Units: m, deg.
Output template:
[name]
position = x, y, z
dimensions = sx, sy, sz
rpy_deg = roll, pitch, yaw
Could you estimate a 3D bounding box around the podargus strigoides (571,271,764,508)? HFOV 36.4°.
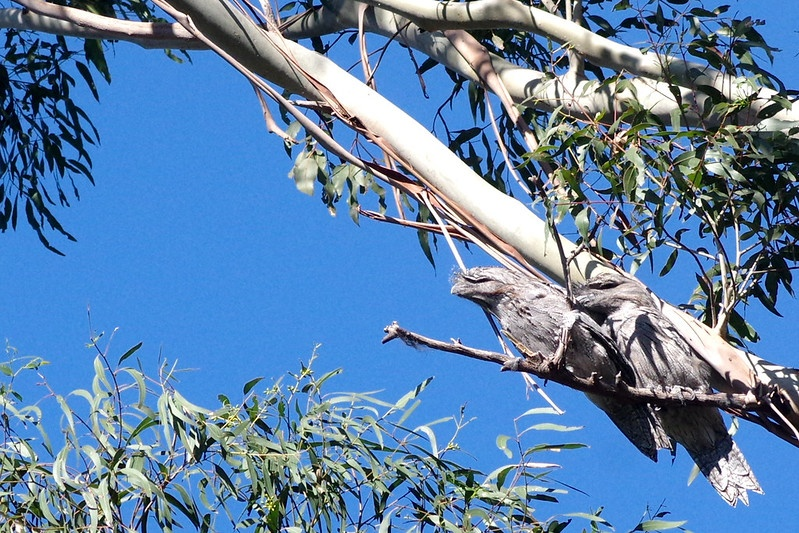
[podargus strigoides]
position = 0.913, 0.364, 4.170
dimensions = 0.226, 0.712, 0.308
rpy_deg = -36, -11, -2
